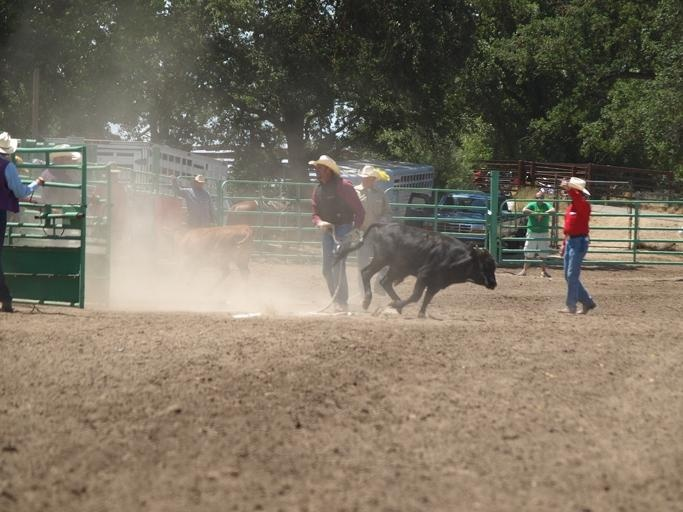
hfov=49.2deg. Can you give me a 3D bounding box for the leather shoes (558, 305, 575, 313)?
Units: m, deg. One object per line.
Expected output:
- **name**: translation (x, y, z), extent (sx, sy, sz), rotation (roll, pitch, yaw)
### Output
- **leather shoes**: translation (3.551, 0.865, 11.781), extent (0.241, 0.116, 0.086), rotation (8, 9, 34)

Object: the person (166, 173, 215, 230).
- **person**: translation (-3.085, -1.136, 15.648), extent (0.816, 1.085, 1.176), rotation (-2, 5, -12)

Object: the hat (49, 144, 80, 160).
- **hat**: translation (-4.300, -1.600, 11.580), extent (0.557, 0.185, 0.638), rotation (0, 1, -3)

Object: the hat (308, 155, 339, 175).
- **hat**: translation (-0.246, -1.379, 11.332), extent (0.359, 0.324, 1.031), rotation (-1, 5, -4)

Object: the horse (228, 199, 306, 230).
- **horse**: translation (-1.835, -1.082, 18.814), extent (1.953, 0.696, 2.637), rotation (-1, 5, 4)

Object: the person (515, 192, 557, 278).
- **person**: translation (4.336, -0.499, 16.496), extent (0.740, 1.880, 1.196), rotation (0, 5, 17)

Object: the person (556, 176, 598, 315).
- **person**: translation (3.764, -0.146, 11.852), extent (0.492, 2.166, 1.057), rotation (0, 5, 19)

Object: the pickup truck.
- **pickup truck**: translation (3.061, -0.909, 18.786), extent (1.445, 1.263, 3.001), rotation (4, 0, -6)

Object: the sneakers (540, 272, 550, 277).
- **sneakers**: translation (4.451, 0.421, 16.178), extent (0.258, 0.129, 0.100), rotation (0, 7, 5)

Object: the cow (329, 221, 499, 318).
- **cow**: translation (1.078, 0.298, 11.312), extent (2.415, 1.507, 0.634), rotation (10, 8, 13)
